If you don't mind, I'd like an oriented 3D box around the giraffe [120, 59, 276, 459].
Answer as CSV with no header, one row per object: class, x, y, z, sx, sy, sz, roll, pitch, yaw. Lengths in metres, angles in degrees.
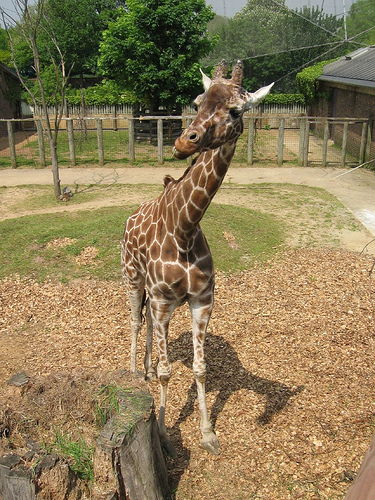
giraffe,-0.021,0.252,4.132,0.905,3.781,1.774,-11,19,-22
